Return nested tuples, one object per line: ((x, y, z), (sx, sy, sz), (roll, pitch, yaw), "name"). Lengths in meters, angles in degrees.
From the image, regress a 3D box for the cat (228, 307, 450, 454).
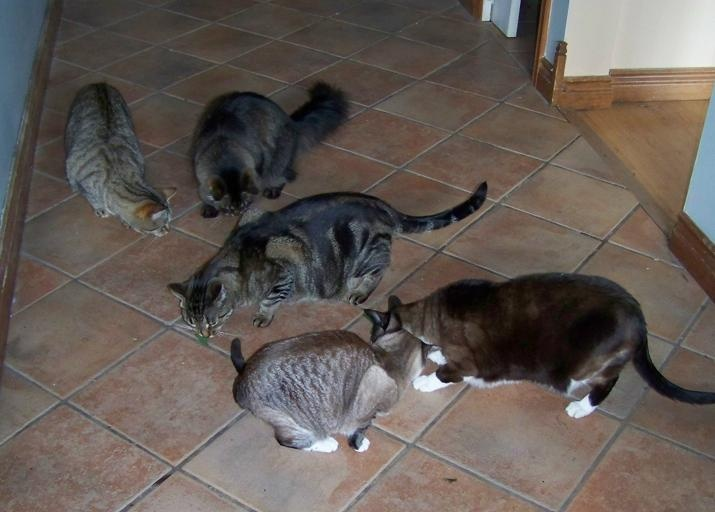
((-0.060, 0.632, 2.945), (1.090, 0.566, 0.364), (-1, 21, -19), "cat")
